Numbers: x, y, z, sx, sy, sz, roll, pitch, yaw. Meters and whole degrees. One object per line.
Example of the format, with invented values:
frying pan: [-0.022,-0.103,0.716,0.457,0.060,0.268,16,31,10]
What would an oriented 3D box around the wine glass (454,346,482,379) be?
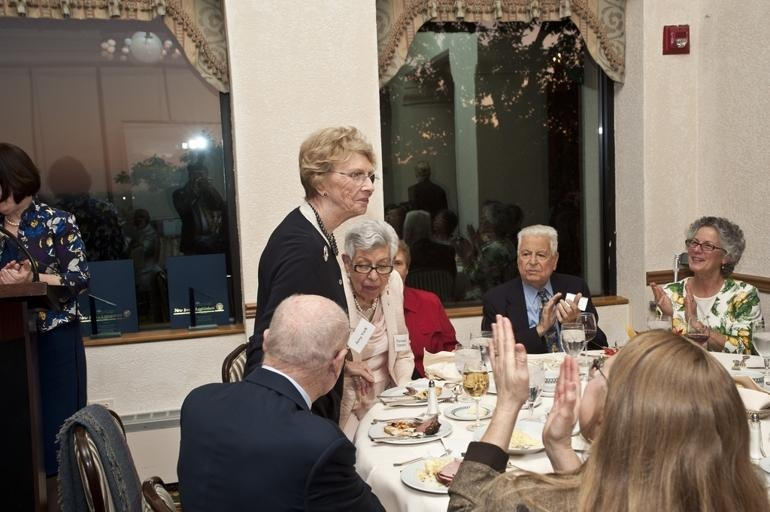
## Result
wine glass: [0.372,0.462,2.719,0.116,0.132,0.115,3,-7,-43]

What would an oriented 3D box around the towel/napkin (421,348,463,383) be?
towel/napkin: [0.296,0.570,3.203,0.175,0.068,0.182,-1,3,3]

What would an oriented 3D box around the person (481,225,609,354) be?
person: [1.024,0.208,4.135,0.701,1.184,0.629,-3,-25,4]

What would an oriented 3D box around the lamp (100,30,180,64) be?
lamp: [-1.817,-1.532,4.603,0.353,0.140,0.265,1,12,-14]
